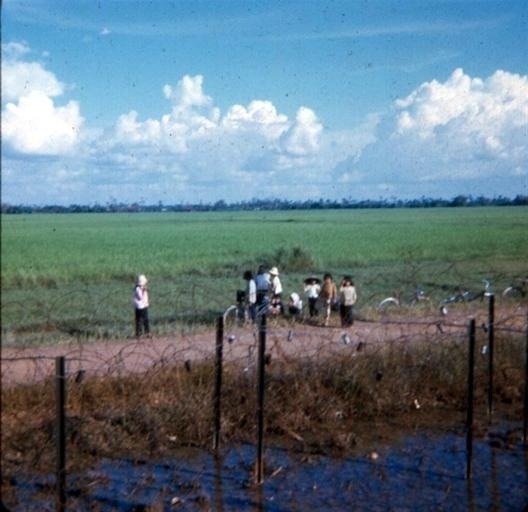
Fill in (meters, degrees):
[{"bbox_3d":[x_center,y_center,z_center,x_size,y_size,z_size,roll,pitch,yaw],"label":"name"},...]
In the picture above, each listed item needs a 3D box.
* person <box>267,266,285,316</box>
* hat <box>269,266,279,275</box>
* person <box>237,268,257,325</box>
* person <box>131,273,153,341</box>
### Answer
[{"bbox_3d":[0.384,0.797,21.366,0.474,1.596,0.496,-11,28,-14],"label":"person"},{"bbox_3d":[0.255,0.369,20.990,0.147,0.155,0.245,7,12,6],"label":"hat"},{"bbox_3d":[-0.417,0.989,20.198,0.491,1.291,1.323,-1,2,-1],"label":"person"},{"bbox_3d":[-2.892,1.147,19.529,0.346,1.471,2.052,-1,2,-9],"label":"person"}]
